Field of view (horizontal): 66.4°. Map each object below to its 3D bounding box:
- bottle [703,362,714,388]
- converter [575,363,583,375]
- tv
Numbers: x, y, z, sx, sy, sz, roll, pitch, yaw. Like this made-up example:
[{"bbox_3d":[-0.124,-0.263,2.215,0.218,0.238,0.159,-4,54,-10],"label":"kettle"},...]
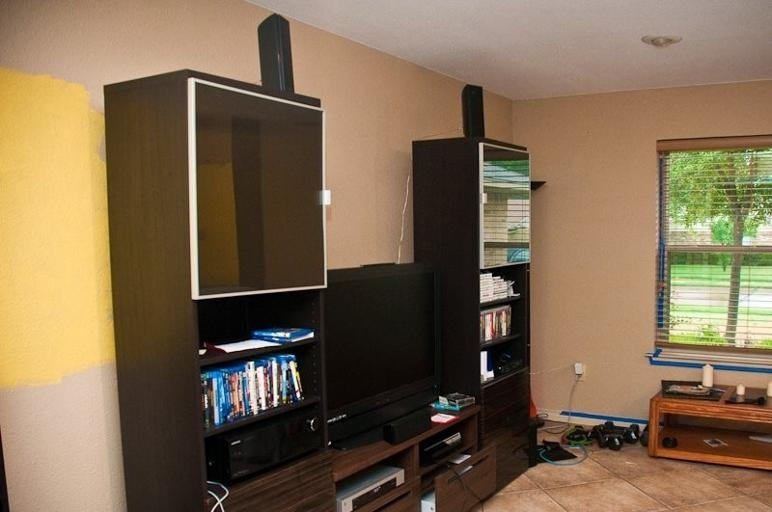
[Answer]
[{"bbox_3d":[2.669,0.996,4.905,0.086,0.199,0.289,3,10,29],"label":"bottle"},{"bbox_3d":[1.763,1.039,5.410,0.076,0.096,0.030,3,1,20],"label":"converter"},{"bbox_3d":[-0.035,0.638,3.678,0.425,1.114,1.280,-1,1,37],"label":"tv"}]
